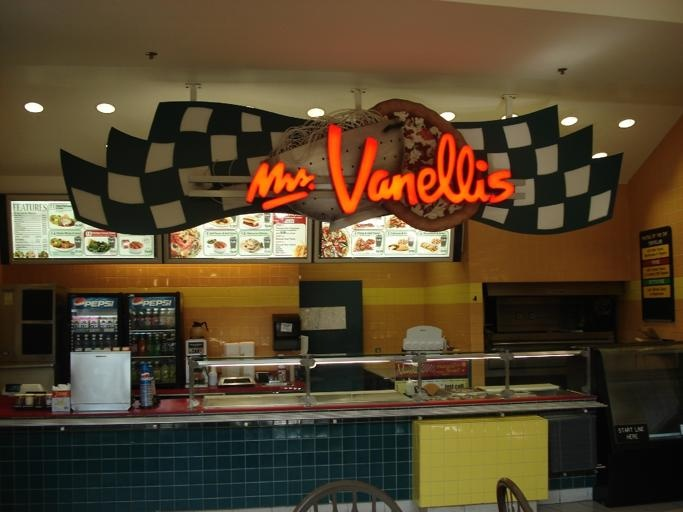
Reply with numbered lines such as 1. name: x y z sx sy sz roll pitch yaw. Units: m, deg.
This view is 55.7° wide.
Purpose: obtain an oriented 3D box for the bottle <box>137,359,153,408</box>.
1. bottle: -1.817 1.185 6.020 0.129 0.405 0.228 -1 -5 -16

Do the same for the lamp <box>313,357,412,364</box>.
1. lamp: 0.138 0.950 5.946 0.778 0.063 0.117 -2 -4 -2

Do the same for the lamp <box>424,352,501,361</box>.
1. lamp: 1.149 0.959 6.216 0.739 0.100 0.060 1 -17 -8

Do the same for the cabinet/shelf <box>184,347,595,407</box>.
1. cabinet/shelf: 0.327 1.219 7.046 3.832 0.536 2.456 -1 -4 -10

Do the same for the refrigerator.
1. refrigerator: -2.428 0.937 7.263 1.482 1.070 0.426 -1 -6 -6

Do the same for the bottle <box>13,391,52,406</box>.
1. bottle: -2.867 1.338 6.020 0.360 0.143 0.081 -2 -5 1

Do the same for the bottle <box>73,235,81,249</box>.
1. bottle: -2.992 -0.154 7.333 0.081 0.143 0.018 -1 -6 -12

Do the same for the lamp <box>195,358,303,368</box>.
1. lamp: -0.834 0.955 5.870 0.926 0.077 0.281 -1 -4 -10
